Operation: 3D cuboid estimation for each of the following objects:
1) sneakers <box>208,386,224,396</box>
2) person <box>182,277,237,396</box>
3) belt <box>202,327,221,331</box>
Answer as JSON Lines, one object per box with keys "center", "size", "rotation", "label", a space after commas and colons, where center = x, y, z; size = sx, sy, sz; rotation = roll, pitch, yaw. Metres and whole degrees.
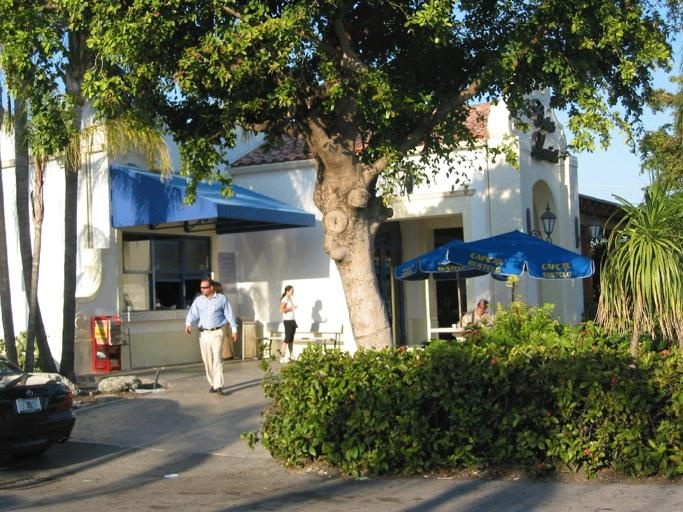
{"center": [-2.439, 2.611, 14.677], "size": [0.115, 0.154, 0.318], "rotation": [-2, -3, -43], "label": "sneakers"}
{"center": [-2.536, 1.564, 14.697], "size": [0.881, 2.246, 1.040], "rotation": [-3, 3, -21], "label": "person"}
{"center": [-2.538, 1.390, 14.580], "size": [0.405, 0.068, 0.105], "rotation": [-2, 3, 9], "label": "belt"}
